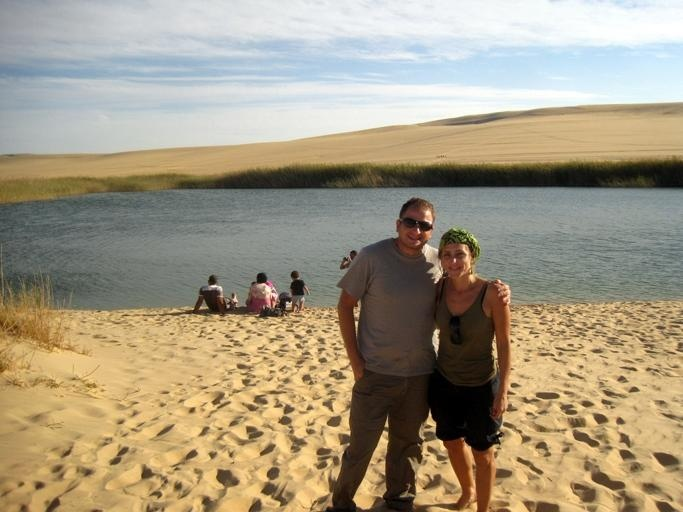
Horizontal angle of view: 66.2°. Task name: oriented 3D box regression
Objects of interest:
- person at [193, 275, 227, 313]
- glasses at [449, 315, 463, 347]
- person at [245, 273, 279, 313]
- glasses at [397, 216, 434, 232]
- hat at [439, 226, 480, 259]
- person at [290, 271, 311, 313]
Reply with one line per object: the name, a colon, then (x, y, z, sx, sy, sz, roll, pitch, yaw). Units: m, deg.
person: (-2.700, 0.660, 10.765, 0.645, 0.620, 1.227, 7, 20, -19)
glasses: (0.866, 0.585, 4.035, 0.125, 0.190, 0.052, 3, 0, 11)
person: (-1.684, 0.805, 11.027, 0.892, 0.858, 0.588, -3, 2, -20)
glasses: (0.596, -0.250, 4.156, 0.266, 0.111, 0.119, -1, 10, -2)
hat: (0.973, -0.113, 4.185, 0.300, 0.252, 0.252, 26, 13, 32)
person: (-0.910, 0.705, 11.017, 0.362, 0.807, 0.921, -2, 10, -5)
